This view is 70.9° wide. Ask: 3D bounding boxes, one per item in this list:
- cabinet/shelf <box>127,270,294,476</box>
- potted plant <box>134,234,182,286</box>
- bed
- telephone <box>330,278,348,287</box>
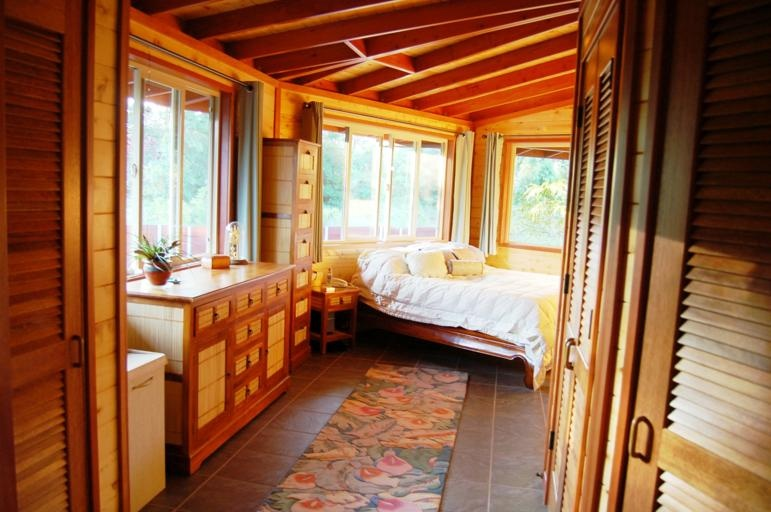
[{"bbox_3d":[-1.162,0.769,3.489,0.532,0.860,1.246,3,9,12],"label":"cabinet/shelf"},{"bbox_3d":[-1.454,0.015,3.665,0.385,0.310,0.369,-2,5,-34],"label":"potted plant"},{"bbox_3d":[0.793,0.433,5.523,1.663,0.636,1.641,6,9,34],"label":"bed"},{"bbox_3d":[-0.507,0.285,5.852,0.107,0.039,0.144,6,5,34],"label":"telephone"}]
